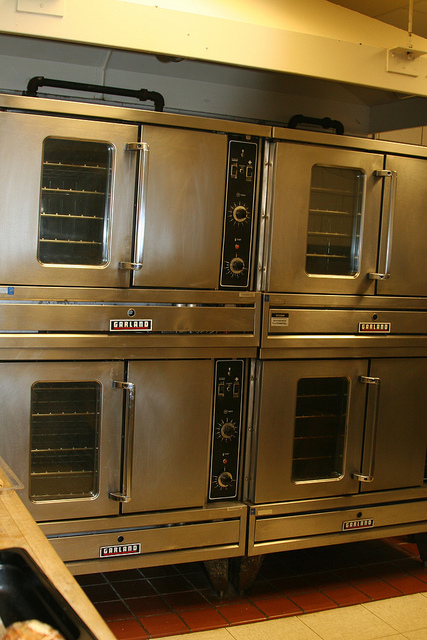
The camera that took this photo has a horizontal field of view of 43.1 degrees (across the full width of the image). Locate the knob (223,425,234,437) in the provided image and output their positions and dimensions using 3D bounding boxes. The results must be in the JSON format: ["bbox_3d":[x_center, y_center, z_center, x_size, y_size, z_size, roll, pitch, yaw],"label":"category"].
[{"bbox_3d":[0.060,0.432,2.117,0.035,0.034,0.009,3,-4,-34],"label":"knob"}]

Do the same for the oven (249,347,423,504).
[{"bbox_3d":[0.466,0.420,2.512,1.069,0.697,0.605,0,1,-17],"label":"oven"}]

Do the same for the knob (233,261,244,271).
[{"bbox_3d":[0.093,-0.208,2.059,0.034,0.033,0.011,1,-1,-35],"label":"knob"}]
